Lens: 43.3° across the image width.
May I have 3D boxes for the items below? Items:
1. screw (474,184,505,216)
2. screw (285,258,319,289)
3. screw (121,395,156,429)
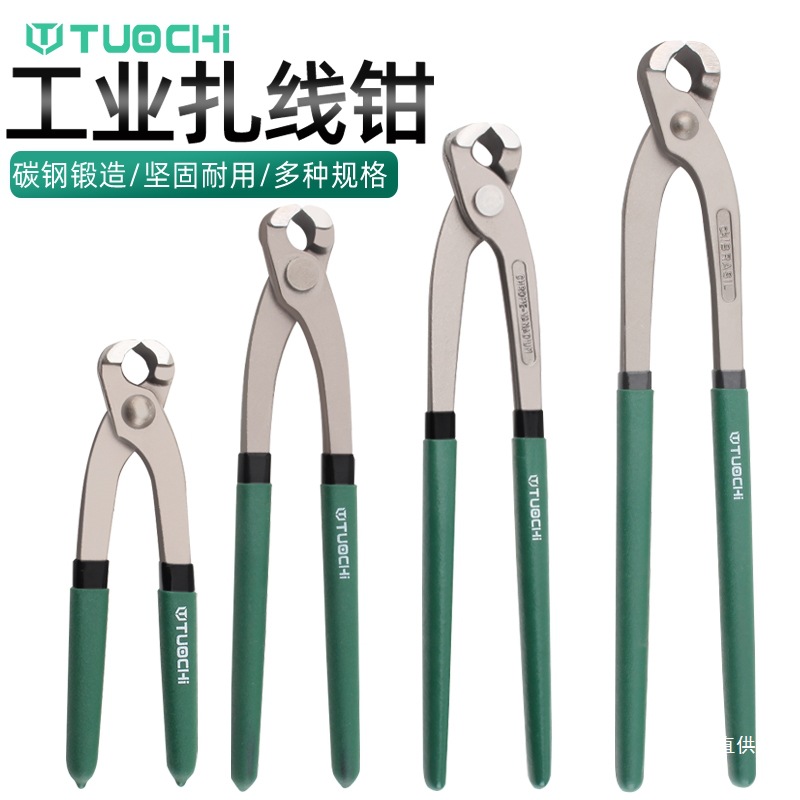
[{"bbox_3d":[0.196,-0.436,2.221,0.059,0.070,0.014,-2,4,-25],"label":"screw"},{"bbox_3d":[-0.214,-0.271,2.183,0.060,0.070,0.015,4,3,-28],"label":"screw"},{"bbox_3d":[-0.570,0.028,2.190,0.060,0.072,0.039,1,-2,-17],"label":"screw"}]
